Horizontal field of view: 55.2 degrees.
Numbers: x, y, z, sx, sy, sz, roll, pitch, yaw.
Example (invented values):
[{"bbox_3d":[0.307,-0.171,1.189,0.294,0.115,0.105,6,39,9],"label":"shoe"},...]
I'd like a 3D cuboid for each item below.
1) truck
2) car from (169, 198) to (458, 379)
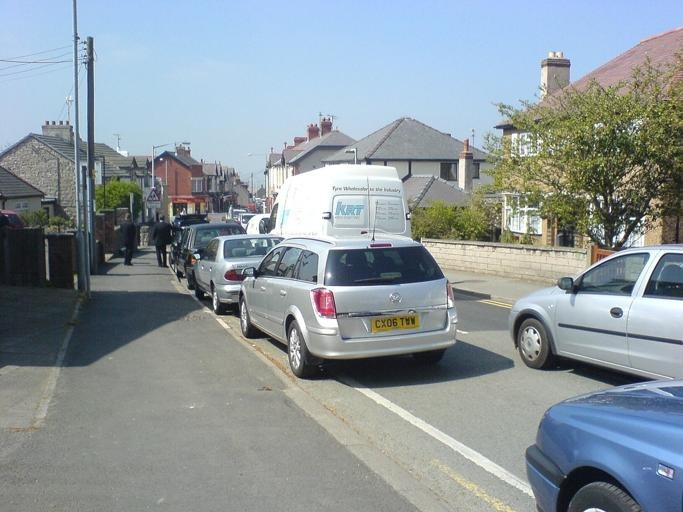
[{"bbox_3d":[-0.282,-1.327,16.773,1.766,1.907,3.534,-1,6,-26],"label":"truck"},{"bbox_3d":[-0.121,0.682,9.762,1.713,1.990,3.314,-5,9,-44],"label":"car"}]
